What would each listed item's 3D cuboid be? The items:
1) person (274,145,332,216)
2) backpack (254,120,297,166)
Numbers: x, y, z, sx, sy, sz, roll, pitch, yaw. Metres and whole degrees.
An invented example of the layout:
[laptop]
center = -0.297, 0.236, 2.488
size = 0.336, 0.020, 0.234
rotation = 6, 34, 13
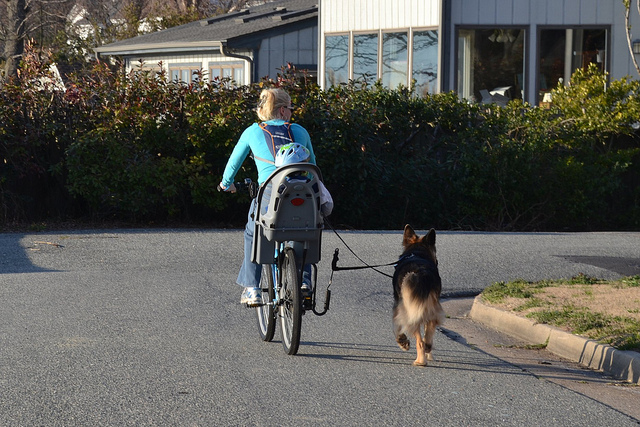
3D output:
[person]
center = -0.213, -0.410, 9.607
size = 0.741, 0.930, 0.501
rotation = -1, 8, -4
[backpack]
center = -0.579, -0.983, 9.791
size = 0.367, 0.642, 0.580
rotation = 6, 41, -5
